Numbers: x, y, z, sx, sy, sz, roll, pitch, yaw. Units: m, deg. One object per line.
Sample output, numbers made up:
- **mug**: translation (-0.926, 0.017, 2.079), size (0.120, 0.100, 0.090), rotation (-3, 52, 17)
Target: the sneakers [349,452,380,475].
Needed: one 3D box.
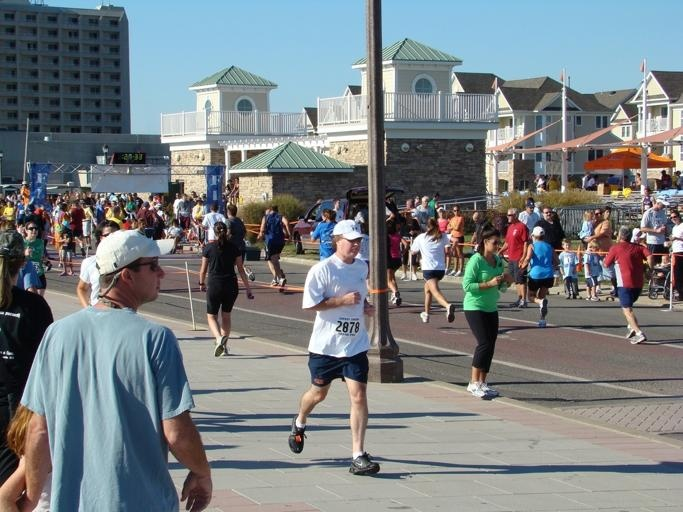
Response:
- **sneakers**: translation (0.231, 2.136, 12.567), size (0.360, 0.201, 0.151), rotation (-5, -7, 23)

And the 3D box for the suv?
- **suv**: translation (-0.229, -1.117, 33.670), size (1.604, 2.090, 3.616), rotation (-3, 9, -26)

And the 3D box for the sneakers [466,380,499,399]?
- **sneakers**: translation (1.782, 1.702, 15.482), size (0.269, 0.108, 0.218), rotation (8, 8, 21)

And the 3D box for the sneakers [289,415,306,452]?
- **sneakers**: translation (-0.483, 1.898, 12.993), size (0.159, 0.400, 0.286), rotation (0, 4, -3)

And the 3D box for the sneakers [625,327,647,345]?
- **sneakers**: translation (4.749, 1.277, 19.657), size (0.147, 0.192, 0.424), rotation (-6, 7, -6)

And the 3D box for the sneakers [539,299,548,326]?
- **sneakers**: translation (3.555, 0.982, 21.163), size (0.144, 0.512, 0.206), rotation (-3, 5, -6)

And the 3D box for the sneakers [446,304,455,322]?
- **sneakers**: translation (1.758, 0.939, 19.350), size (0.133, 0.373, 0.154), rotation (-4, 16, -3)

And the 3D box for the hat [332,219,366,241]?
- **hat**: translation (0.052, -0.267, 13.063), size (0.193, 0.160, 0.268), rotation (0, 0, -40)

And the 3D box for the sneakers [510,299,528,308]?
- **sneakers**: translation (3.469, 0.935, 23.775), size (0.317, 0.149, 0.122), rotation (3, -2, 36)

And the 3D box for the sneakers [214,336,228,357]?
- **sneakers**: translation (-1.710, 1.335, 17.479), size (0.138, 0.375, 0.164), rotation (13, 18, -7)

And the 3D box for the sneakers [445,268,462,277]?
- **sneakers**: translation (2.765, 0.426, 29.358), size (0.145, 0.182, 0.435), rotation (-1, -5, 44)

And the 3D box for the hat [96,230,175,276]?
- **hat**: translation (-1.718, -0.070, 9.940), size (0.483, 0.237, 0.315), rotation (-13, 17, -19)

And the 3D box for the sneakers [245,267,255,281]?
- **sneakers**: translation (-2.004, 0.407, 26.647), size (0.186, 0.253, 0.571), rotation (-4, -8, -3)

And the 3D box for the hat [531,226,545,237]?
- **hat**: translation (3.682, -0.435, 22.683), size (0.187, 0.172, 0.296), rotation (3, 5, 2)

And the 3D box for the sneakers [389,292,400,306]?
- **sneakers**: translation (1.052, 0.842, 23.463), size (0.122, 0.138, 0.293), rotation (0, -19, -2)
